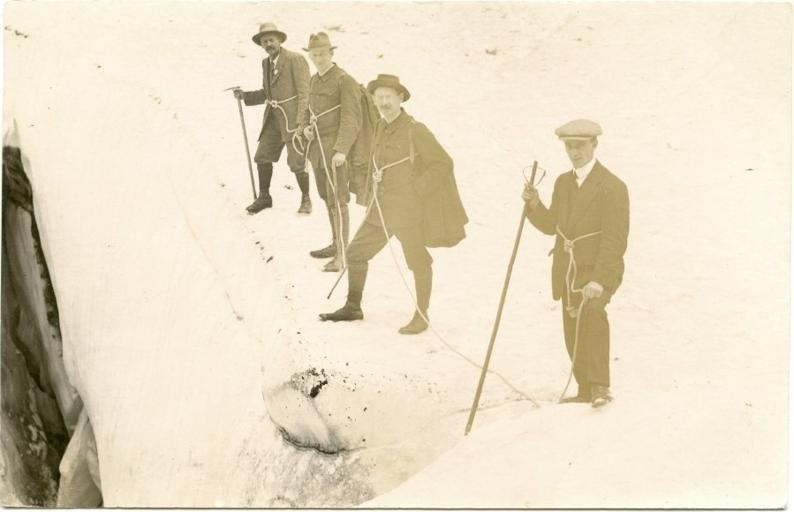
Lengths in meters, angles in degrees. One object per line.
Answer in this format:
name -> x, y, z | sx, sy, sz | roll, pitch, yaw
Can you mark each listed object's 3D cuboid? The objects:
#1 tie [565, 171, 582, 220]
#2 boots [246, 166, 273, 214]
tie -> 1.448, -0.491, 11.376 | 0.123, 0.358, 0.144 | 4, 18, 4
boots -> -1.146, -0.545, 11.556 | 0.201, 0.390, 0.158 | 2, 18, -3
